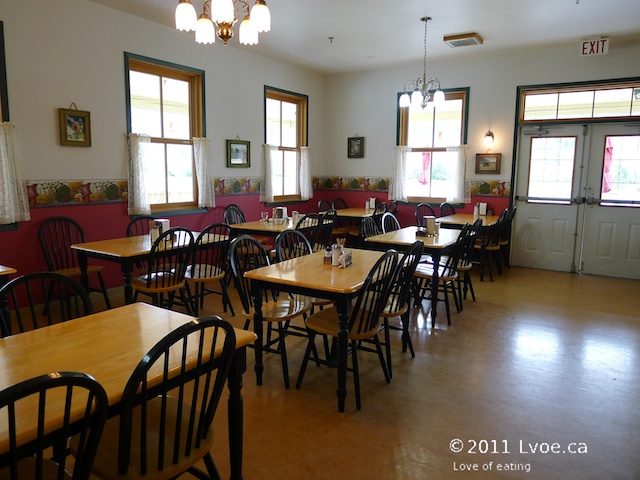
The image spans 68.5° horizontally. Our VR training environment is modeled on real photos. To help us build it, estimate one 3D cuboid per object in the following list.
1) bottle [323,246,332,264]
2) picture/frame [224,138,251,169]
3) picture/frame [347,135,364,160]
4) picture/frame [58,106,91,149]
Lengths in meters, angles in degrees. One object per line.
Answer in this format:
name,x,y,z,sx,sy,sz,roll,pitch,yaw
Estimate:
bottle,0.062,0.130,3.782,0.094,0.191,0.100,0,5,0
picture/frame,-1.213,-1.251,6.773,0.041,0.408,0.443,3,4,31
picture/frame,0.629,-1.654,8.295,0.364,0.431,0.030,7,9,34
picture/frame,-2.607,-1.199,4.974,0.021,0.546,0.433,5,6,33
